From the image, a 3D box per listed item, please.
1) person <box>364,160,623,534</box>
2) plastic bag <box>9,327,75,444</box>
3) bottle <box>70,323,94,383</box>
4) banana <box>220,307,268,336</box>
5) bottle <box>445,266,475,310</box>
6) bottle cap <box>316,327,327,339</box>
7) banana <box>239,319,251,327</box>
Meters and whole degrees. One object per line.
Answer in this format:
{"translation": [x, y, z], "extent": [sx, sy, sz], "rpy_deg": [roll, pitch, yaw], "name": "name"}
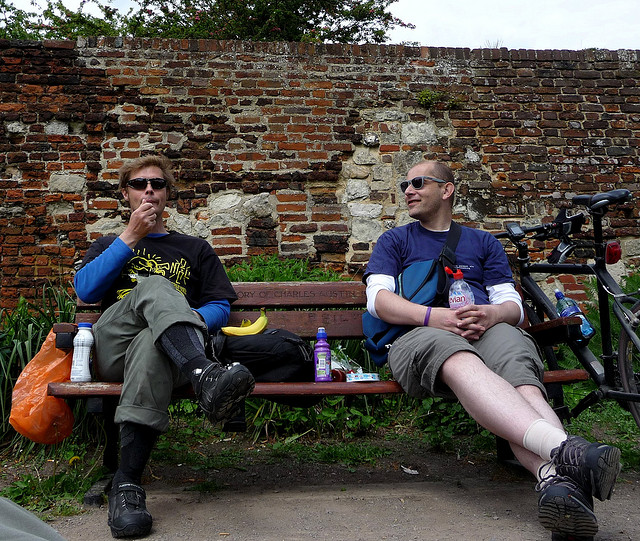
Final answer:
{"translation": [0.672, 0.198, 2.668], "extent": [0.868, 1.831, 1.408], "rpy_deg": [-1, -4, 3], "name": "person"}
{"translation": [-1.411, 0.563, 2.923], "extent": [0.442, 0.543, 0.427], "rpy_deg": [-2, 6, -32], "name": "plastic bag"}
{"translation": [-1.205, 0.416, 2.761], "extent": [0.109, 0.291, 0.183], "rpy_deg": [1, -4, -24], "name": "bottle"}
{"translation": [-0.474, 0.322, 3.195], "extent": [0.299, 0.161, 0.097], "rpy_deg": [-6, -2, -23], "name": "banana"}
{"translation": [0.757, 0.109, 2.969], "extent": [0.134, 0.207, 0.309], "rpy_deg": [-2, -4, 13], "name": "bottle"}
{"translation": [-0.001, 0.371, 3.162], "extent": [0.068, 0.064, 0.063], "rpy_deg": [2, -3, -25], "name": "bottle cap"}
{"translation": [-0.461, 0.327, 3.352], "extent": [0.054, 0.022, 0.039], "rpy_deg": [-27, 46, -18], "name": "banana"}
